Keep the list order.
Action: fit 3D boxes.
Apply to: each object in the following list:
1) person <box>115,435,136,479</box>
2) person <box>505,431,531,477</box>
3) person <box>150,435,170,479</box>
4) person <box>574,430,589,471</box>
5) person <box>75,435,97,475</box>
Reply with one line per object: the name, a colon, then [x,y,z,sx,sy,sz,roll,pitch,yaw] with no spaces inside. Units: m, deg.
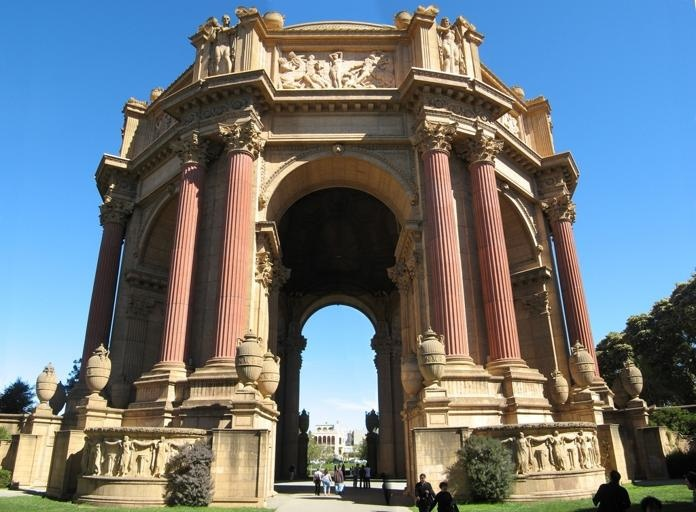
person: [-9.601,8.668,21.104,0.748,1.593,0.498,1,-24,-1]
person: [7.529,8.611,21.374,0.916,1.758,0.374,-3,-24,7]
person: [-8.079,8.716,21.149,0.563,1.595,0.406,9,-25,-18]
person: [10.907,8.957,22.611,1.022,1.628,0.289,21,-31,-38]
person: [-11.626,8.988,21.988,0.499,1.576,1.740,17,-29,-33]
